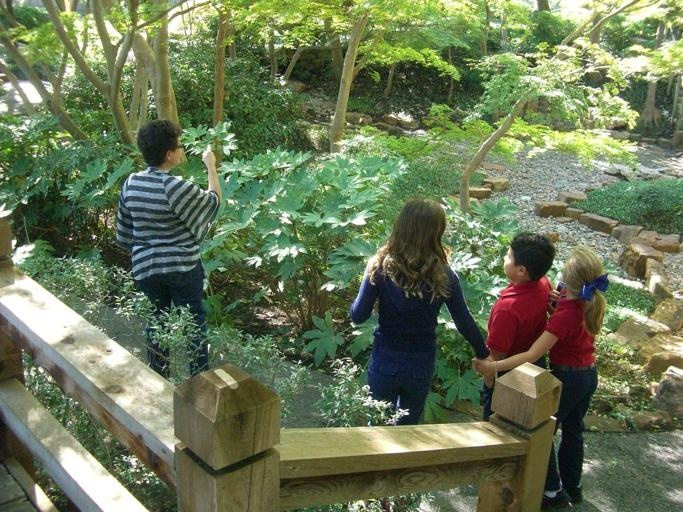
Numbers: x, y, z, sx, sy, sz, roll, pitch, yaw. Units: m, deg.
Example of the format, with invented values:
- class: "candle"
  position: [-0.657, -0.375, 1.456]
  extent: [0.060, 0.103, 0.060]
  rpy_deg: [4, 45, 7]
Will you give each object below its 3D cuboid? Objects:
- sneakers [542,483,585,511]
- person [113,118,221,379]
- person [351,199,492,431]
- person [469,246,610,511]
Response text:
- class: "sneakers"
  position: [1.272, 1.403, 3.199]
  extent: [0.297, 0.130, 0.106]
  rpy_deg: [-2, 11, -15]
- class: "person"
  position: [-1.008, -0.085, 3.244]
  extent: [0.633, 1.418, 1.067]
  rpy_deg: [-6, 16, -22]
- class: "person"
  position: [0.387, 0.285, 2.812]
  extent: [0.616, 1.138, 0.231]
  rpy_deg: [-5, 16, -19]
- class: "person"
  position: [1.227, 0.696, 3.046]
  extent: [0.733, 1.486, 0.305]
  rpy_deg: [-8, 17, -27]
